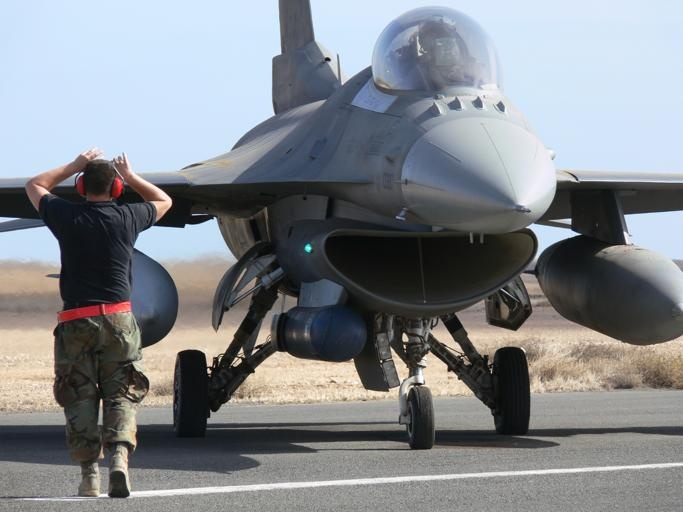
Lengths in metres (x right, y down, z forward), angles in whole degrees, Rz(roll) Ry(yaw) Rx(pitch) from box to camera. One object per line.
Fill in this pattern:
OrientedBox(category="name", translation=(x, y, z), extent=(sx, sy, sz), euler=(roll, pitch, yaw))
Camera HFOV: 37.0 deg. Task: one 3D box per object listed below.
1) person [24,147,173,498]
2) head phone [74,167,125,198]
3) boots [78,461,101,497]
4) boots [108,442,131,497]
OrientedBox(category="person", translation=(-1.969, 0.569, 8.548), extent=(0.868, 2.759, 0.959), euler=(-6, 12, -35))
OrientedBox(category="head phone", translation=(-2.062, -0.625, 8.667), extent=(0.344, 0.243, 0.105), euler=(1, -35, -7))
OrientedBox(category="boots", translation=(-2.105, 1.834, 8.464), extent=(0.177, 0.290, 0.215), euler=(-1, 9, -13))
OrientedBox(category="boots", translation=(-1.846, 1.758, 8.404), extent=(0.174, 0.430, 0.207), euler=(-1, 10, -11))
